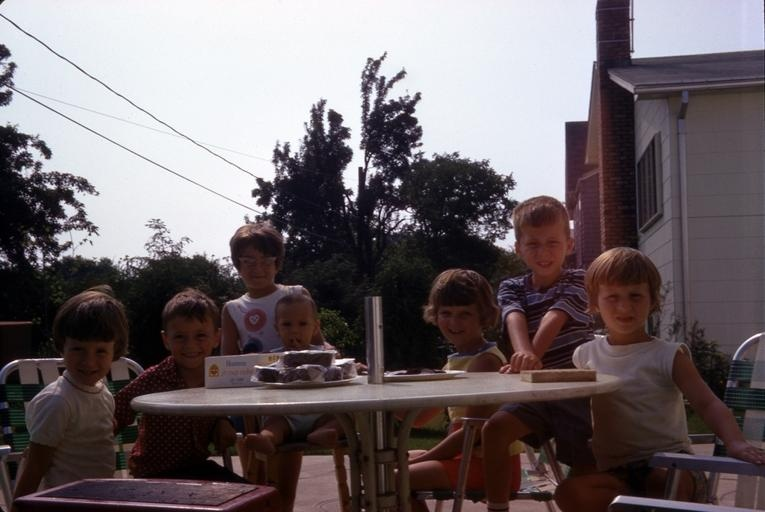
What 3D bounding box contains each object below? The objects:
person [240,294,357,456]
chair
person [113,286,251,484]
[{"bbox_3d":[-0.469,0.610,3.660,0.558,0.824,0.613,-1,1,-10],"label":"person"},{"bbox_3d":[-0.044,0.725,2.788,1.953,0.704,0.813,1,-9,-12],"label":"chair"},{"bbox_3d":[-1.095,0.716,3.624,0.905,1.114,0.692,1,0,21],"label":"person"}]
